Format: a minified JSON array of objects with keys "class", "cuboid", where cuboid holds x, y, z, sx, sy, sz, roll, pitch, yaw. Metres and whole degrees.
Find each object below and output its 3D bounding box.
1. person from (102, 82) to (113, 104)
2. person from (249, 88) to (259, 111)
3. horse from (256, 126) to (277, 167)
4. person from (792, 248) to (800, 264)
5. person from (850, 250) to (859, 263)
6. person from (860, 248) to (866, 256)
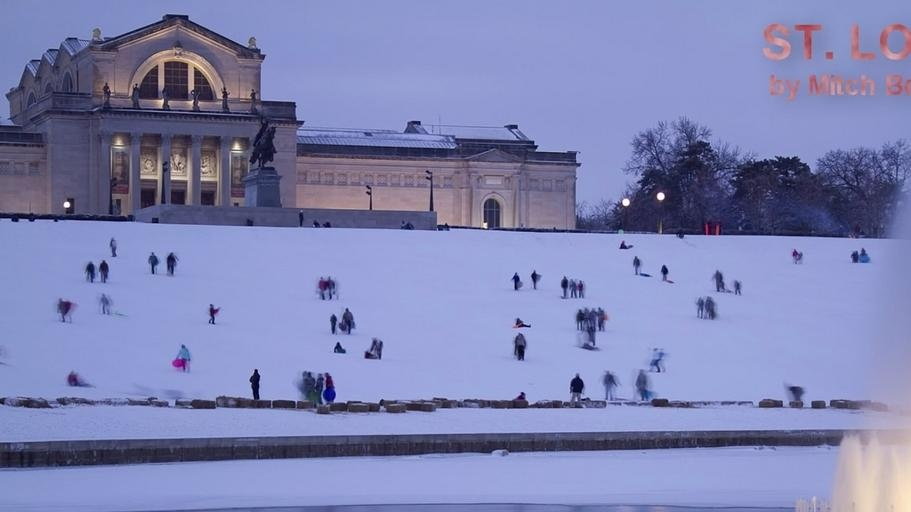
[{"class":"person","cuboid":[-25.357,-11.638,146.247,0.587,1.765,1.018,1,-4,-12]},{"class":"person","cuboid":[-15.109,-11.509,150.323,0.565,1.768,1.489,0,-4,2]},{"class":"horse","cuboid":[-12.603,-7.075,132.928,1.157,2.741,2.781,0,-4,-2]},{"class":"person","cuboid":[20.374,0.158,120.761,0.530,0.869,1.115,-1,-4,9]},{"class":"person","cuboid":[23.996,0.189,121.591,0.435,0.708,1.076,-1,-4,12]},{"class":"person","cuboid":[24.554,-0.128,121.799,0.413,0.477,0.946,-1,-4,14]}]
